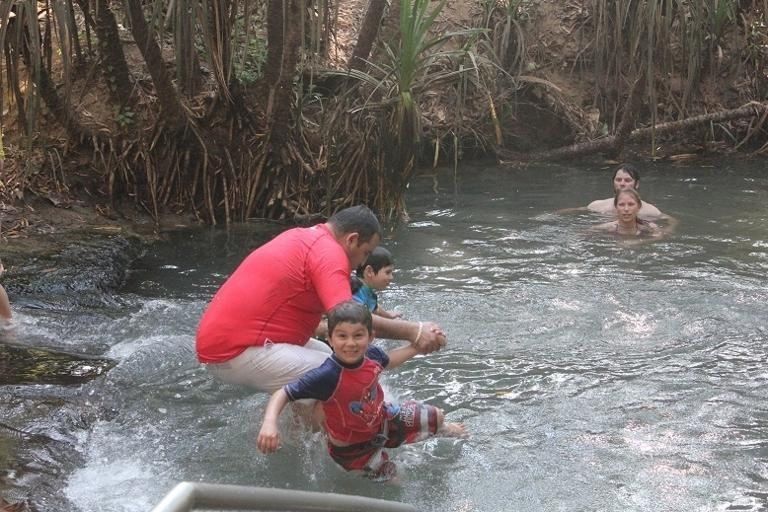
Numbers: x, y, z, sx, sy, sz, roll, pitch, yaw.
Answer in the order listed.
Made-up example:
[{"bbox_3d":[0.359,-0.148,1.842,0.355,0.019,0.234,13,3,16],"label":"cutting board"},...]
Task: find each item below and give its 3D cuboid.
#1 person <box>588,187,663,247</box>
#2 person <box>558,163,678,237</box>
[{"bbox_3d":[3.051,-0.499,9.468,0.985,0.589,0.448,2,3,17],"label":"person"},{"bbox_3d":[3.210,-0.883,9.984,0.992,0.557,1.223,5,15,10],"label":"person"}]
